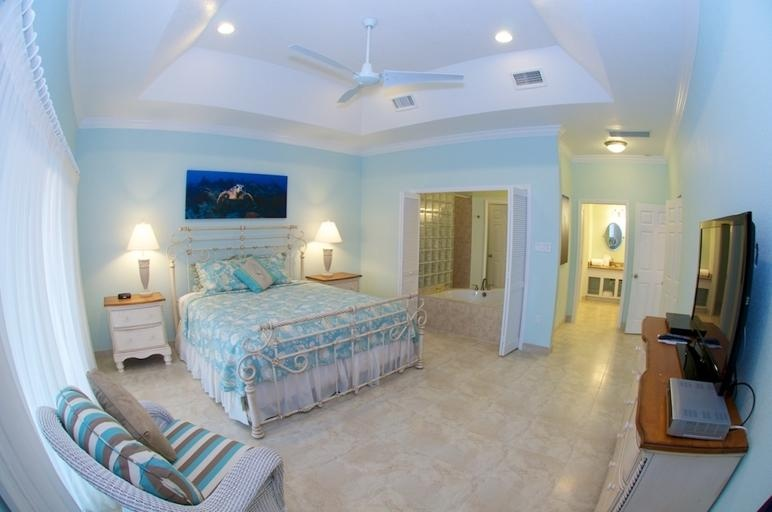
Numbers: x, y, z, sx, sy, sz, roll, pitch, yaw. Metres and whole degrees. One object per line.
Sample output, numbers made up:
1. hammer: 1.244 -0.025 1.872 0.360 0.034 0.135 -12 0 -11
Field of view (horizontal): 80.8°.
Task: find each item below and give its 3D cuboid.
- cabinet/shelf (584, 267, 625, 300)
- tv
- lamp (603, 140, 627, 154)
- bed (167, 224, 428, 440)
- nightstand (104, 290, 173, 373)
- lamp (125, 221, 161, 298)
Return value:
1. cabinet/shelf: 4.372 0.541 9.007 0.645 0.599 0.211 2 3 40
2. tv: 2.312 0.358 3.165 0.102 1.211 1.290 4 8 23
3. lamp: 3.091 -1.462 6.121 0.250 0.171 0.249 -1 2 -6
4. bed: -1.477 0.776 5.628 2.263 1.757 2.732 -5 6 -38
5. nightstand: -3.019 0.868 5.693 0.903 1.151 0.796 -3 -1 -30
6. lamp: -2.990 0.017 5.610 0.371 0.862 0.443 -8 7 -29
